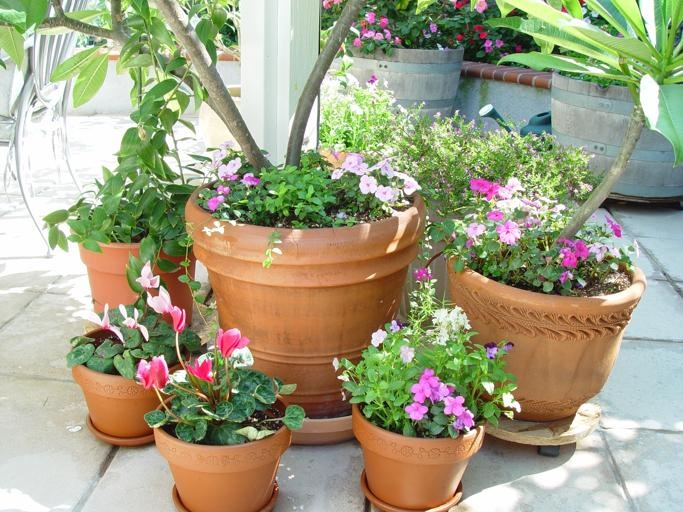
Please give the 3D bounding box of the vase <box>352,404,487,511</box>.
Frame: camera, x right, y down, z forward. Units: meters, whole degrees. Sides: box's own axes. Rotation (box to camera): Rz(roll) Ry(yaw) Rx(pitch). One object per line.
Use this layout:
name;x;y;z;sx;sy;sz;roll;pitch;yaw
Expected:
vase;0.203;0.592;1.595;0.318;0.204;0.315;1;11;-1

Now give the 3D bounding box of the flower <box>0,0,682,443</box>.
flower;0.042;-0.130;1.787;1.707;1.369;1.149;20;34;30
